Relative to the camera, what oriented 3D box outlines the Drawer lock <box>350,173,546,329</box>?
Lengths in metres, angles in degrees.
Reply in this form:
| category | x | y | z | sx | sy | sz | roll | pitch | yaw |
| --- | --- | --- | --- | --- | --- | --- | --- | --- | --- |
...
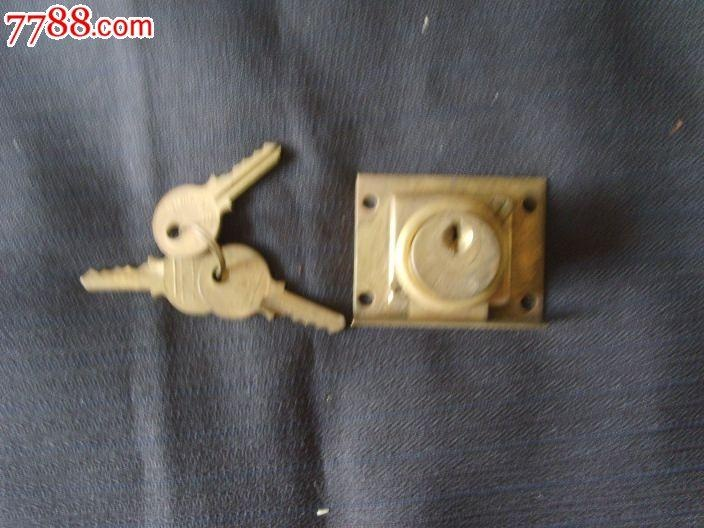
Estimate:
| category | x | y | z | sx | sy | sz | roll | pitch | yaw |
| --- | --- | --- | --- | --- | --- | --- | --- | --- | --- |
| Drawer lock | 0.114 | -0.016 | 0.965 | 0.221 | 0.068 | 0.173 | 1 | 79 | 3 |

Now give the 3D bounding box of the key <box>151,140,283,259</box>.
| category | x | y | z | sx | sy | sz | roll | pitch | yaw |
| --- | --- | --- | --- | --- | --- | --- | --- | --- | --- |
| key | -0.162 | -0.076 | 1.015 | 0.195 | 0.027 | 0.084 | -38 | 91 | 1 |
